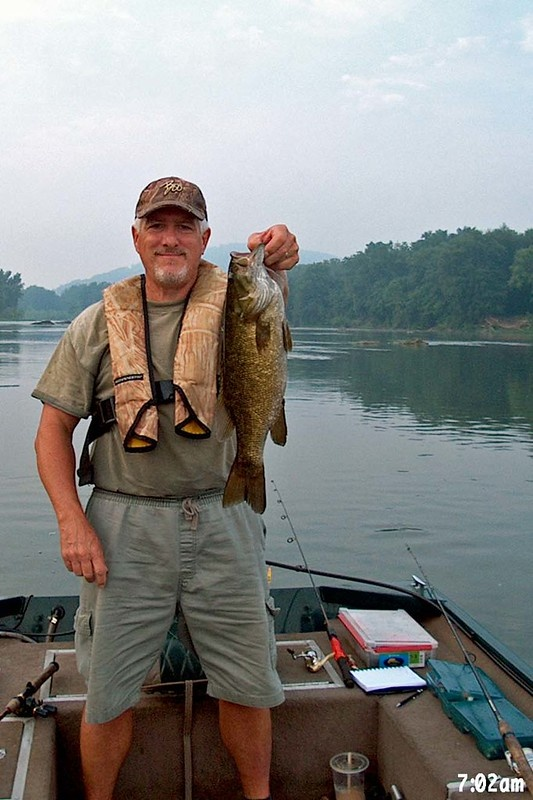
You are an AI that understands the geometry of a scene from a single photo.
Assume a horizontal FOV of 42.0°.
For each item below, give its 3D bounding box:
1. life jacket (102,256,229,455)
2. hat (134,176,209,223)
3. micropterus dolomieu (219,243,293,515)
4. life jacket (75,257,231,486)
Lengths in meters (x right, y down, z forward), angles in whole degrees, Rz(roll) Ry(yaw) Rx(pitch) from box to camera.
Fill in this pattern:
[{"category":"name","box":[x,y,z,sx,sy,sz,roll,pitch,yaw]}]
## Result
[{"category":"life jacket","box":[-0.325,-0.163,2.319,0.414,0.616,0.367,-2,9,-12]},{"category":"hat","box":[-0.306,-0.650,2.244,0.224,0.134,0.121,-1,8,-10]},{"category":"micropterus dolomieu","box":[-0.033,-0.048,2.187,0.210,0.849,0.178,0,9,1]},{"category":"life jacket","box":[-0.343,-0.084,2.238,0.554,0.634,0.182,0,-15,-4]}]
